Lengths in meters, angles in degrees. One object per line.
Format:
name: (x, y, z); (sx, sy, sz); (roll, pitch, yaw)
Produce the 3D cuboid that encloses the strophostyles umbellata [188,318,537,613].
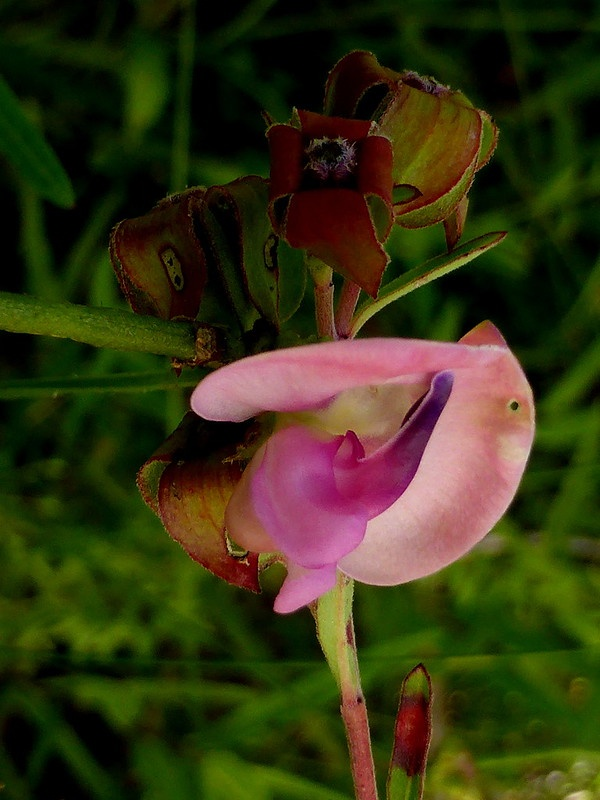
strophostyles umbellata: (0.036, 0.030, 0.423); (0.150, 0.125, 0.105); (-16, 79, 2)
